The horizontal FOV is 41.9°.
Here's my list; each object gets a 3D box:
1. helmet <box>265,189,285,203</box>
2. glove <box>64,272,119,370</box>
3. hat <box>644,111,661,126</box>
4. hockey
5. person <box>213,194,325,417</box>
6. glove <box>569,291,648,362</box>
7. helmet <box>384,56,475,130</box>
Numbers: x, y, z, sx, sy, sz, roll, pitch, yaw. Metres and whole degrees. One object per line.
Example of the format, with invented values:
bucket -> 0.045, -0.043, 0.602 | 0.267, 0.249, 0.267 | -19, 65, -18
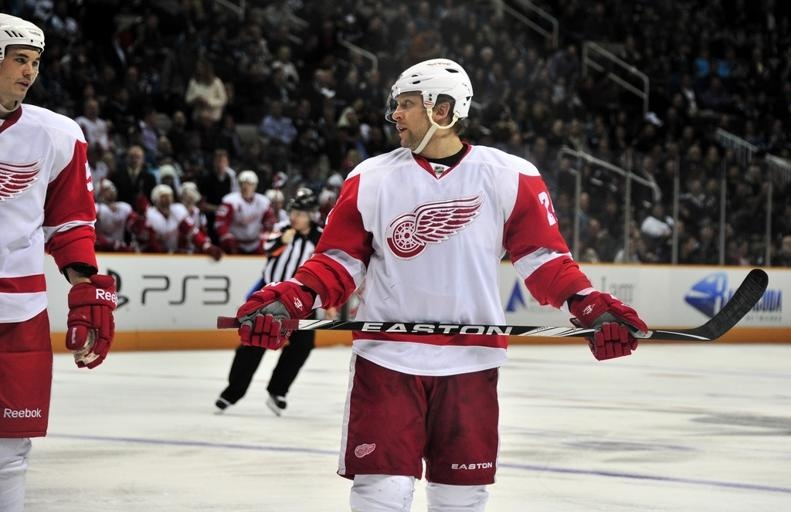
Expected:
helmet -> -1.535, -0.777, 13.084 | 0.199, 0.156, 0.180 | -15, 52, -14
glove -> -1.709, 0.359, 5.774 | 0.307, 0.508, 0.156 | 6, -12, -20
hat -> 3.921, -2.132, 15.833 | 0.283, 0.117, 0.188 | 34, 23, 29
hockey -> 0.770, 0.325, 6.899 | 3.357, 0.460, 0.280 | -2, 4, 42
person -> -1.053, 0.497, 9.326 | 0.819, 2.275, 1.135 | 15, 22, 2
glove -> 1.138, 0.365, 5.603 | 0.333, 0.208, 0.420 | 33, 13, -33
helmet -> 0.190, -0.930, 5.838 | 0.526, 0.386, 0.381 | 1, 6, -8
